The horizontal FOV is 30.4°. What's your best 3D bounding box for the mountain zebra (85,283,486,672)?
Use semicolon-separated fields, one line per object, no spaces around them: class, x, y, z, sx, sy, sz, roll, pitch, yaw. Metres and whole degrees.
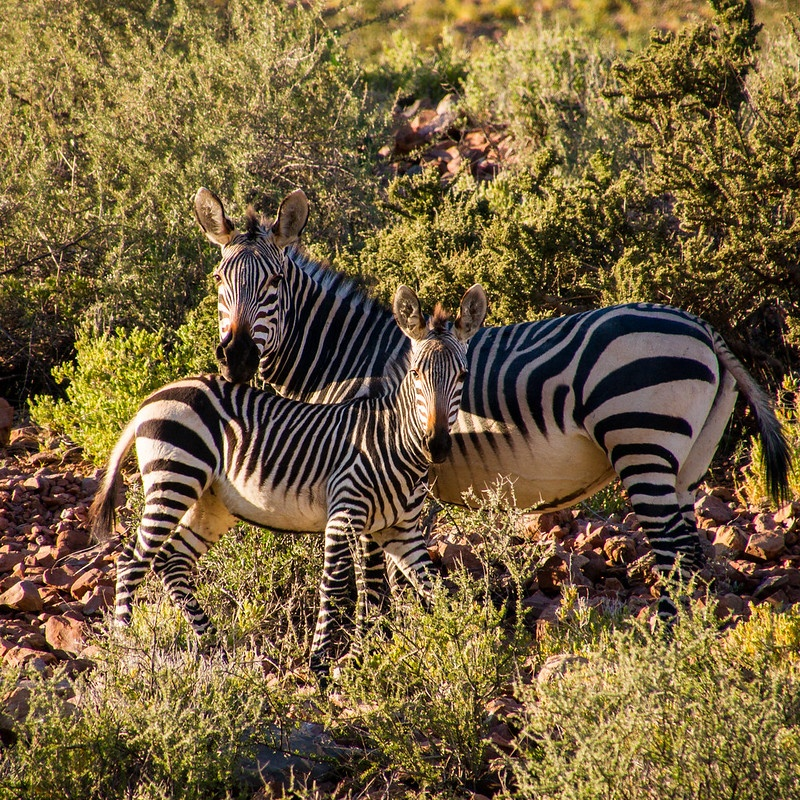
mountain zebra;-0.690;0.464;8.788;2.143;2.222;0.806;5;-3;6
